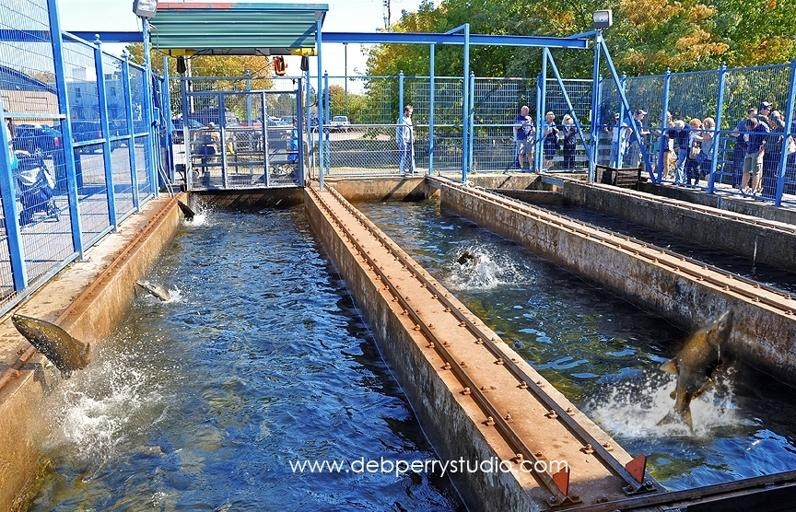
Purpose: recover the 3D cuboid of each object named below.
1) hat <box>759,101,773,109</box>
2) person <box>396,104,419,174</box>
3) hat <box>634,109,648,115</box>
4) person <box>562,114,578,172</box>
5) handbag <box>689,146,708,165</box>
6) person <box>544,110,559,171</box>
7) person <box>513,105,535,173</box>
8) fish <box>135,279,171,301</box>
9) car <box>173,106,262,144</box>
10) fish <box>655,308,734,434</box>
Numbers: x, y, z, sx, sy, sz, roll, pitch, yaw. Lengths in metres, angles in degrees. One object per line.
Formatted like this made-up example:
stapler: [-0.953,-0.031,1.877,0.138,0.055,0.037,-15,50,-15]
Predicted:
hat: [9.704,-3.927,14.620,0.133,0.122,0.225,-13,-2,-22]
person: [0.373,-4.263,20.569,0.719,2.460,0.820,-7,13,-18]
hat: [8.478,-4.931,19.258,0.339,0.130,0.229,-34,32,-33]
person: [6.653,-4.176,21.533,0.560,1.741,0.928,2,14,20]
handbag: [9.119,-3.003,16.762,0.296,0.581,0.337,-2,31,-19]
person: [5.939,-4.376,21.438,0.562,2.144,0.613,2,14,20]
person: [4.852,-4.464,21.344,0.786,2.366,0.578,-2,13,4]
fish: [-4.380,0.608,10.012,0.544,0.422,0.402,-11,16,-32]
car: [-5.761,-4.275,17.998,2.233,0.909,1.241,-5,11,-27]
fish: [3.957,1.562,7.330,0.323,1.263,0.562,35,-9,-37]
